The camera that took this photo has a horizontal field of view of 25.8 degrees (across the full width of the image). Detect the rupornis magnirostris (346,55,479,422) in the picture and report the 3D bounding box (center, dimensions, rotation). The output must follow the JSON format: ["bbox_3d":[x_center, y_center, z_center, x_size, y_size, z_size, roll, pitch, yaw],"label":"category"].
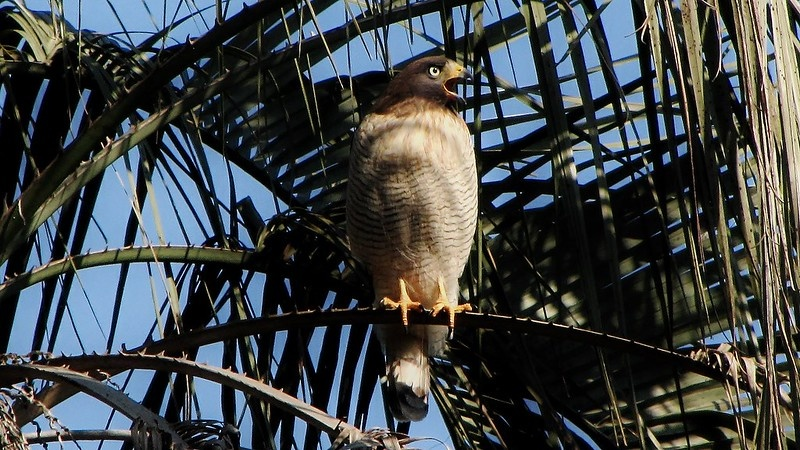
[{"bbox_3d":[0.075,0.020,10.435,0.789,2.154,1.172,-3,-36,-2],"label":"rupornis magnirostris"}]
